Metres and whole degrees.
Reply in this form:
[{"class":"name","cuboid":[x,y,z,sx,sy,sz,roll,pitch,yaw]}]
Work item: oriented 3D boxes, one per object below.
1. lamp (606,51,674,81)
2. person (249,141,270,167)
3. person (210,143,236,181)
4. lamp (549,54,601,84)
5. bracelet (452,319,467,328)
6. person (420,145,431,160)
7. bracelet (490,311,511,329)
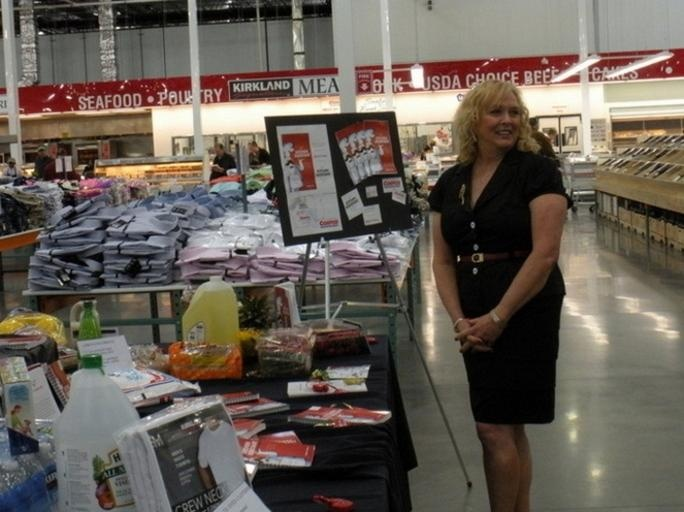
[{"class":"lamp","cuboid":[8.810,-5.627,18.005,1.609,0.347,0.158,-19,17,-1]},{"class":"person","cuboid":[-1.818,-2.265,13.322,0.396,0.498,1.523,-5,10,-8]},{"class":"person","cuboid":[-2.334,-1.899,11.876,0.462,0.646,1.103,-5,10,-10]},{"class":"lamp","cuboid":[6.712,-5.437,17.537,0.358,0.253,1.768,-18,-1,-12]},{"class":"bracelet","cuboid":[0.446,0.251,2.290,0.014,0.038,0.031,32,-2,-4]},{"class":"person","cuboid":[2.272,-2.847,16.586,0.220,0.272,0.703,0,-15,-3]},{"class":"bracelet","cuboid":[0.554,0.219,2.162,0.060,0.061,0.025,3,12,34]}]
